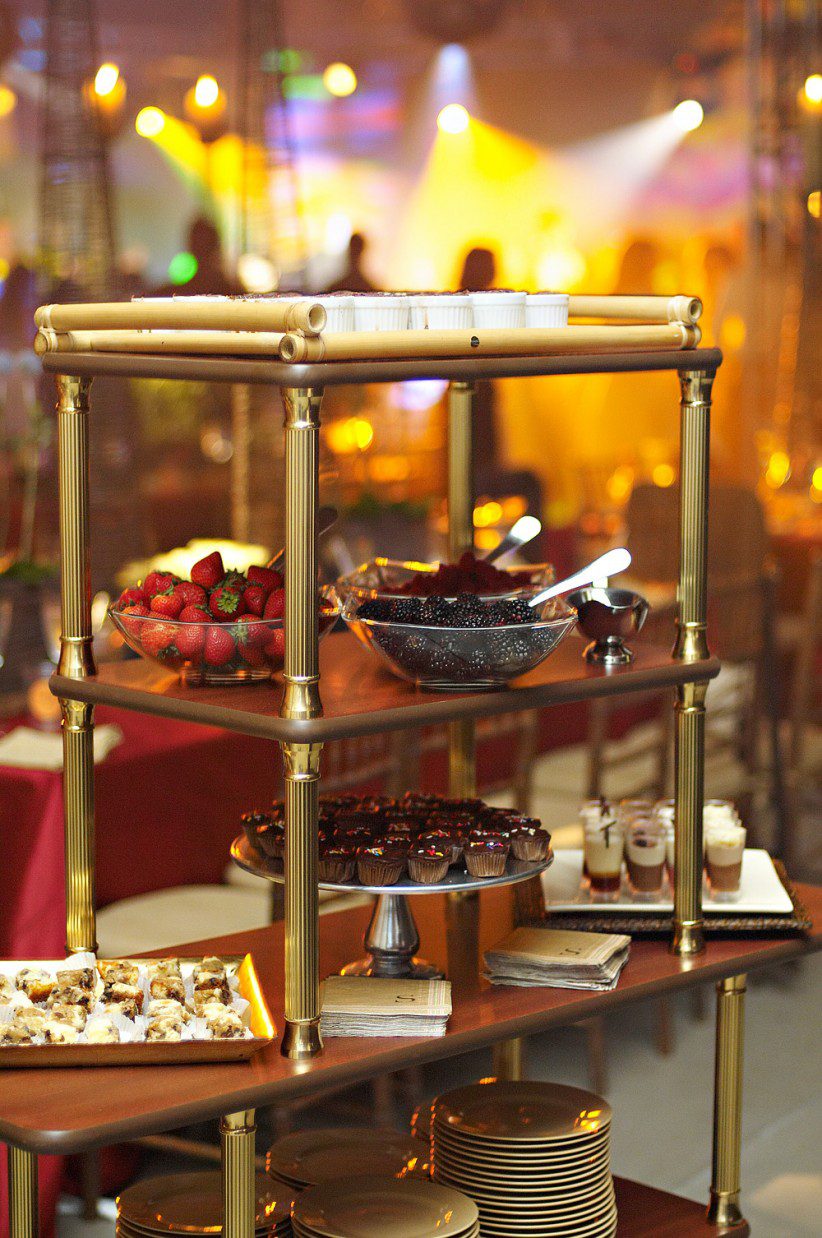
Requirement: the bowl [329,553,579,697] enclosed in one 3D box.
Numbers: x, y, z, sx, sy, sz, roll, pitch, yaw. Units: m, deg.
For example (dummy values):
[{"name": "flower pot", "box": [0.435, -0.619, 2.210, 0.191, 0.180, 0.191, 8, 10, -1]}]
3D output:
[{"name": "bowl", "box": [0.048, 0.010, 1.223, 0.199, 0.061, 0.174, -3, 16, -9]}]
